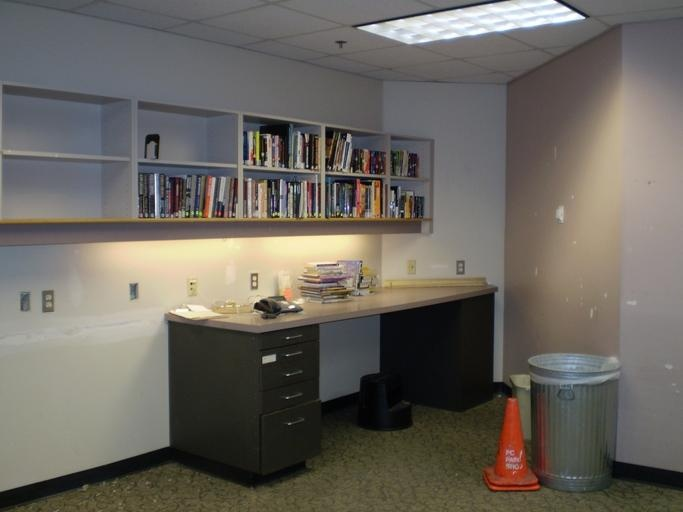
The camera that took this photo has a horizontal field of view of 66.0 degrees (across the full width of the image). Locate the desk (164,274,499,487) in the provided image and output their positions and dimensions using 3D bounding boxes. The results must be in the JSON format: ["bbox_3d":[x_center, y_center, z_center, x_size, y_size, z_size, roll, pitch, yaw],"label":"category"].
[{"bbox_3d":[0.154,0.903,4.670,3.170,1.159,1.063,-4,6,-43],"label":"desk"}]

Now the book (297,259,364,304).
[{"bbox_3d":[-0.063,0.207,4.598,0.429,0.156,0.315,-7,10,-42],"label":"book"}]

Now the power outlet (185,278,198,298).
[{"bbox_3d":[-1.156,0.242,4.039,0.020,0.206,0.146,1,1,40],"label":"power outlet"}]

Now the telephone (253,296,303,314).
[{"bbox_3d":[-0.457,0.372,3.870,0.172,0.066,0.204,6,4,39],"label":"telephone"}]

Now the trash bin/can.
[{"bbox_3d":[1.546,1.115,3.874,0.778,0.970,0.760,-2,-1,-6],"label":"trash bin/can"}]
